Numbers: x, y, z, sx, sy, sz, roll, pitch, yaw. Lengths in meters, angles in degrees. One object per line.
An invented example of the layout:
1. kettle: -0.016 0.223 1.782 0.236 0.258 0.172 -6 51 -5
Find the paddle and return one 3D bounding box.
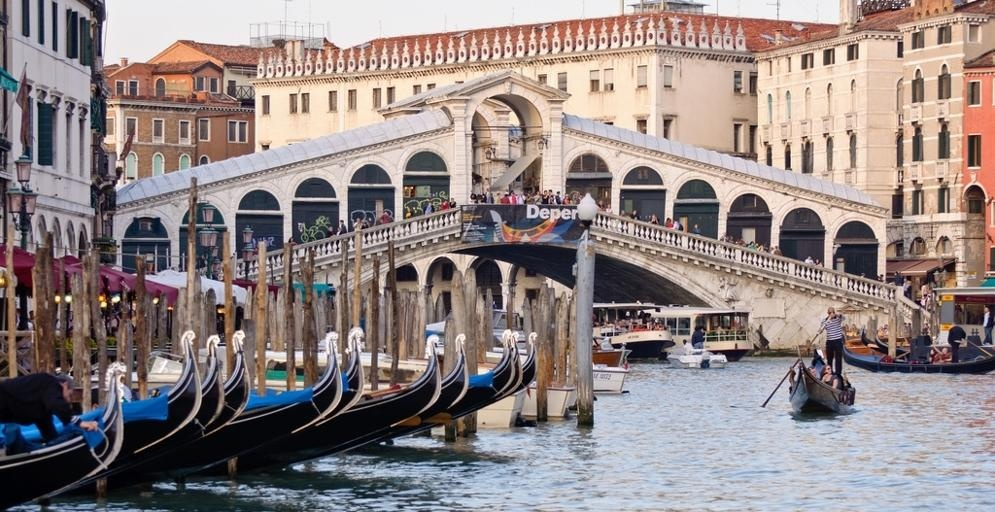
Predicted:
1. paddle: 16.079 5.791 118.661 0.877 5.496 0.250 31 19 -11

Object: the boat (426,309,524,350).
1. boat: -1.245 3.643 105.785 3.001 1.997 7.402 2 0 -35

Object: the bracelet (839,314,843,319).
1. bracelet: 17.522 3.129 112.912 0.198 0.221 0.098 -3 -6 -8

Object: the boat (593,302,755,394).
1. boat: 9.603 4.929 131.386 9.757 2.619 4.549 0 -1 22
